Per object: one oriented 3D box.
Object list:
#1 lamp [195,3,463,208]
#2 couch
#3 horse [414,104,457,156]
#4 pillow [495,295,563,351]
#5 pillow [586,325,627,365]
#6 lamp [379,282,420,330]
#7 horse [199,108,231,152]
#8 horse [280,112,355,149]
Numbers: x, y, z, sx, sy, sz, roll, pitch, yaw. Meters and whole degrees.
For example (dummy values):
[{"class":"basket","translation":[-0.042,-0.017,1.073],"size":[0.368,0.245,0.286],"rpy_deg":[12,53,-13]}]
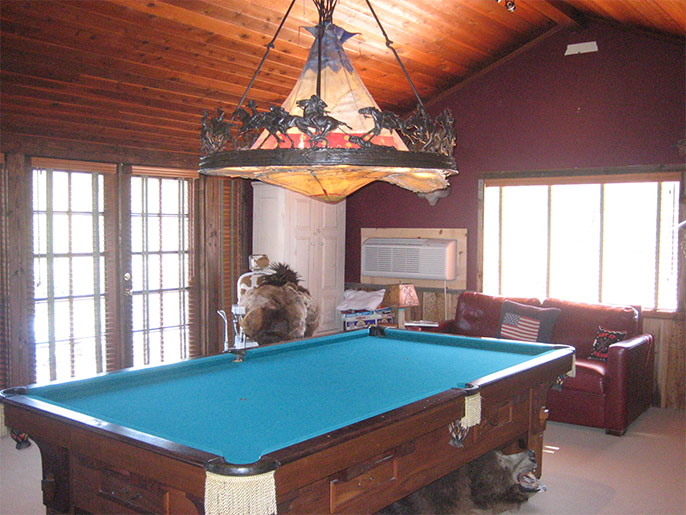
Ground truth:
[{"class":"lamp","translation":[-0.147,-0.995,3.638],"size":[1.391,1.392,1.326],"rpy_deg":[3,-6,-11]},{"class":"couch","translation":[1.976,1.013,6.063],"size":[2.115,1.053,1.117],"rpy_deg":[3,7,39]},{"class":"horse","translation":[0.529,-0.716,3.243],"size":[0.218,0.291,0.312],"rpy_deg":[2,8,-2]},{"class":"pillow","translation":[1.847,0.655,5.814],"size":[0.143,0.425,0.472],"rpy_deg":[33,-13,-39]},{"class":"pillow","translation":[2.544,0.837,5.562],"size":[0.302,0.304,0.268],"rpy_deg":[6,9,25]},{"class":"lamp","translation":[0.609,0.504,6.222],"size":[0.398,0.432,0.379],"rpy_deg":[-1,-4,-11]},{"class":"horse","translation":[-0.713,-0.713,3.238],"size":[0.150,0.263,0.256],"rpy_deg":[0,8,-16]},{"class":"horse","translation":[-0.159,-0.656,2.886],"size":[0.396,0.191,0.086],"rpy_deg":[0,-5,-12]}]
